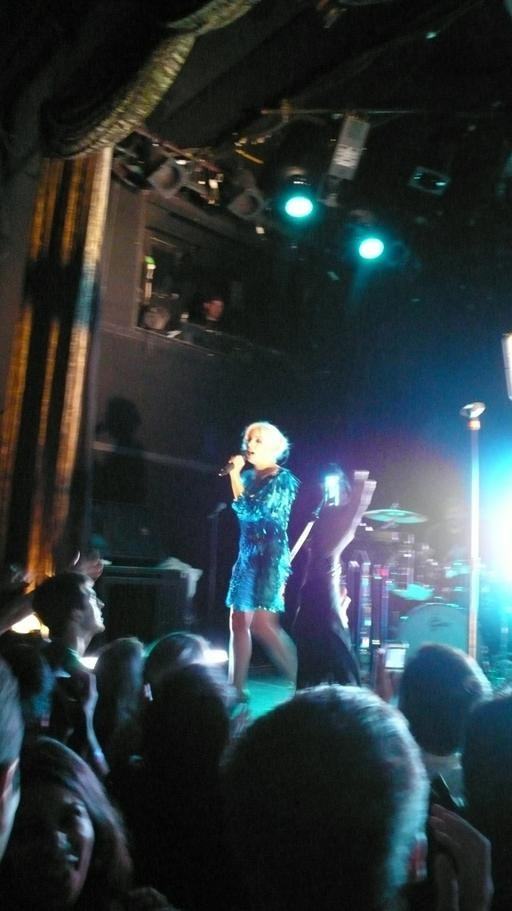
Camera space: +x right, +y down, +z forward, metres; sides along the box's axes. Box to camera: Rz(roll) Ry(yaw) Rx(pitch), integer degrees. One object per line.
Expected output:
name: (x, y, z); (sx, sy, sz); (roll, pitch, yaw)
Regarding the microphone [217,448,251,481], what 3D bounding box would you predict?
microphone: (-0.137, 0.058, 4.014); (0.089, 0.290, 0.088); (39, -24, 14)
